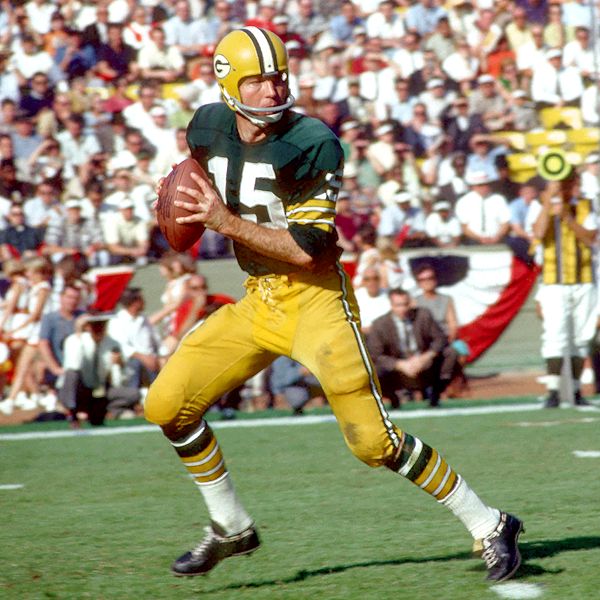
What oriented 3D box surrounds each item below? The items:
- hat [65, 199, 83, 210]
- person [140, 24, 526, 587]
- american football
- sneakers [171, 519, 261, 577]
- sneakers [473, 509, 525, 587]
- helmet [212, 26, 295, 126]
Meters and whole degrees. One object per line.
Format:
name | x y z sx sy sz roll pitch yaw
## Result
hat | -1.596 -0.650 6.414 0.109 0.081 0.072 -14 9 -9
person | -0.080 0.042 3.224 1.169 2.005 0.537 -16 11 6
american football | -0.448 -0.324 3.181 0.274 0.279 0.202 14 13 -7
sneakers | -0.236 0.879 3.263 0.382 0.132 0.119 -11 16 -34
sneakers | 0.701 0.844 3.175 0.169 0.109 0.237 25 51 -4
helmet | -0.168 -0.796 3.263 0.283 0.242 0.336 -14 32 -24
